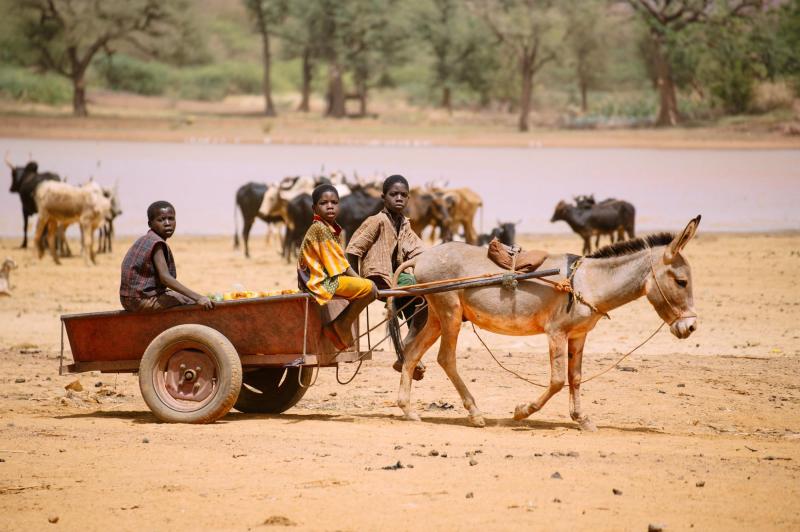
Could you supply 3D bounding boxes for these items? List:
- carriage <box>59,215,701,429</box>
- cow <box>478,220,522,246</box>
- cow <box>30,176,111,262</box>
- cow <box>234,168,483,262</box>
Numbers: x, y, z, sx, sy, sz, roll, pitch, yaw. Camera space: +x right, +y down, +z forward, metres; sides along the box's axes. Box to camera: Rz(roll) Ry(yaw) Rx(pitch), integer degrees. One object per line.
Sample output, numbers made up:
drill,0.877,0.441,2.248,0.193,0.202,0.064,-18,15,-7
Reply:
carriage,-0.384,0.997,39.789,17.249,7.141,6.507,6,24,9
cow,3.466,-1.218,53.679,0.822,1.534,2.099,-1,-3,-19
cow,-11.867,-1.723,53.433,2.026,3.329,2.129,7,16,34
cow,-1.554,-1.953,55.514,11.473,5.243,3.108,1,3,16
